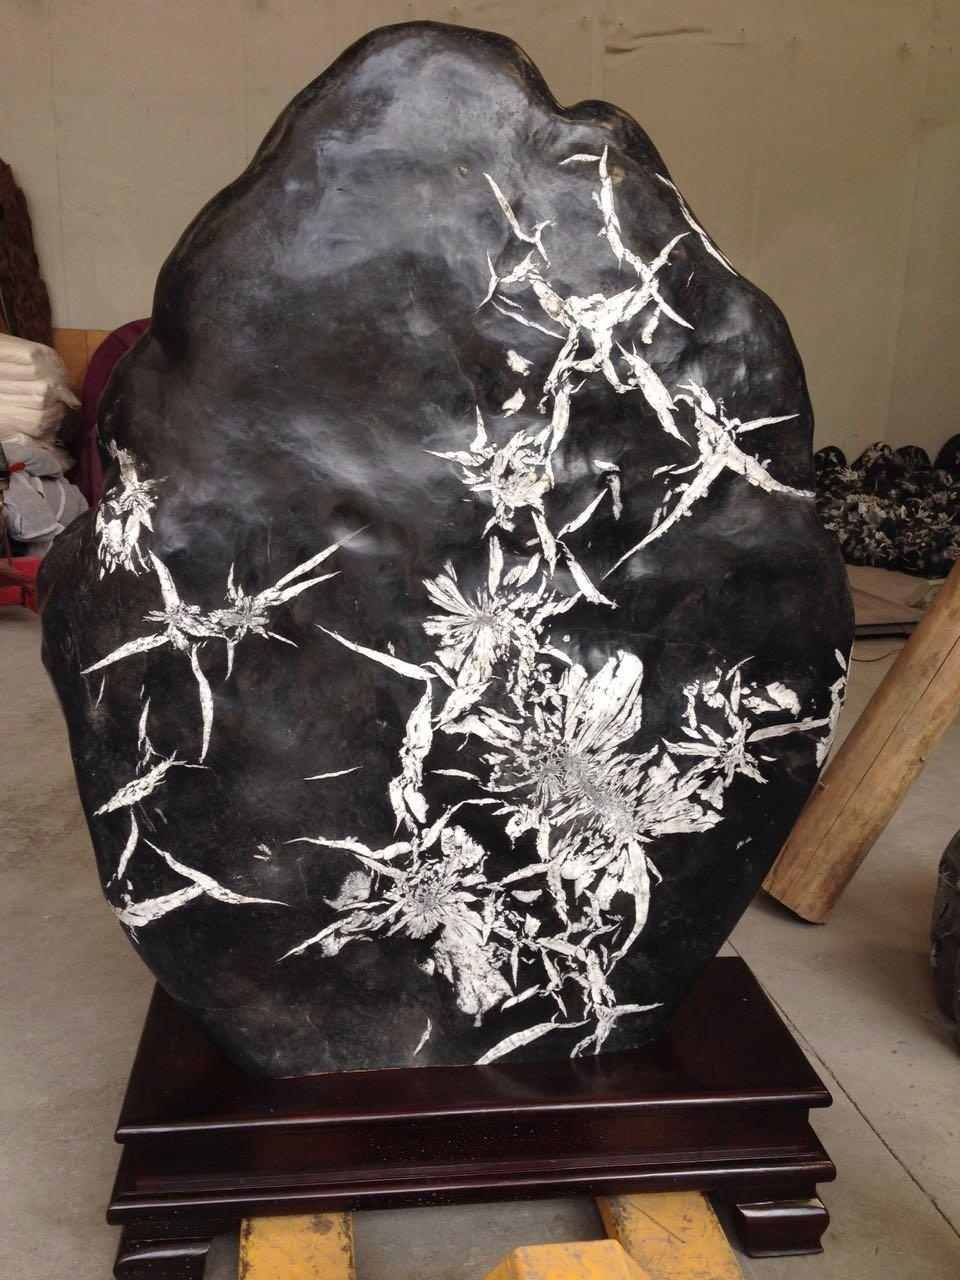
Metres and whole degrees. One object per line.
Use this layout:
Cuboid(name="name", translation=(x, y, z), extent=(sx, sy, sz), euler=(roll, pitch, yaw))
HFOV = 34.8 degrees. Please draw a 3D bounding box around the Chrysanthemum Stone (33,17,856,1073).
Cuboid(name="Chrysanthemum Stone", translation=(-0.022, -0.057, 1.554), extent=(0.806, 1.021, 0.472), euler=(-2, 36, -14))
